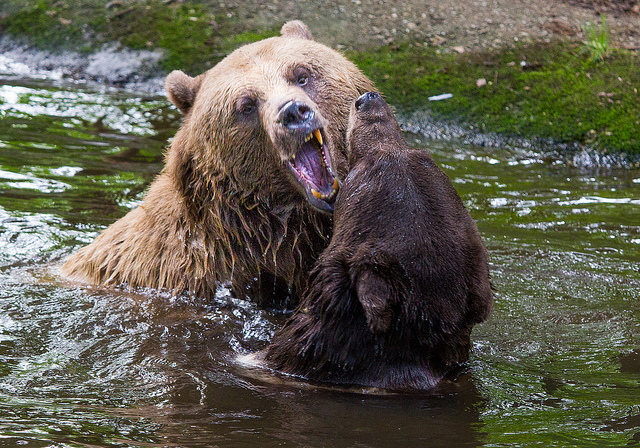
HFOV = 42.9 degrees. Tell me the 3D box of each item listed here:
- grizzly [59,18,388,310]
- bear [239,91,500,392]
[{"bbox_3d":[-0.001,-0.720,10.195,3.158,3.510,5.386,-23,18,0],"label":"grizzly"},{"bbox_3d":[0.588,0.317,6.962,1.785,2.065,1.188,5,18,10],"label":"bear"}]
